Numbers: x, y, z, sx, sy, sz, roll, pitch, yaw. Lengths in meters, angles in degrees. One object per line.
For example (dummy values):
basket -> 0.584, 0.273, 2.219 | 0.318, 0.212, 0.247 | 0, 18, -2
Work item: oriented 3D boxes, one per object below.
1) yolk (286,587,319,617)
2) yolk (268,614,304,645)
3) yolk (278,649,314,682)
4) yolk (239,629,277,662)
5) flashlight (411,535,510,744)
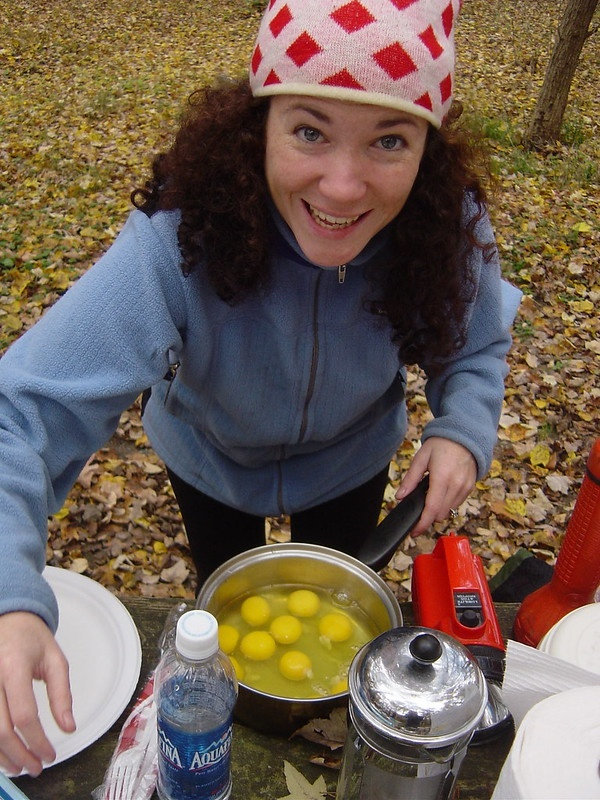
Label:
yolk -> 0.010, 0.482, 1.643 | 0.068, 0.033, 0.063 | -16, 55, -17
yolk -> -0.031, 0.534, 1.613 | 0.060, 0.037, 0.067 | 0, 49, -2
yolk -> -0.009, 0.587, 1.536 | 0.065, 0.040, 0.077 | -15, 40, -29
yolk -> -0.095, 0.550, 1.549 | 0.076, 0.054, 0.057 | 4, 6, 21
flashlight -> 0.264, 0.486, 1.499 | 0.158, 0.225, 0.444 | -2, 43, -2
